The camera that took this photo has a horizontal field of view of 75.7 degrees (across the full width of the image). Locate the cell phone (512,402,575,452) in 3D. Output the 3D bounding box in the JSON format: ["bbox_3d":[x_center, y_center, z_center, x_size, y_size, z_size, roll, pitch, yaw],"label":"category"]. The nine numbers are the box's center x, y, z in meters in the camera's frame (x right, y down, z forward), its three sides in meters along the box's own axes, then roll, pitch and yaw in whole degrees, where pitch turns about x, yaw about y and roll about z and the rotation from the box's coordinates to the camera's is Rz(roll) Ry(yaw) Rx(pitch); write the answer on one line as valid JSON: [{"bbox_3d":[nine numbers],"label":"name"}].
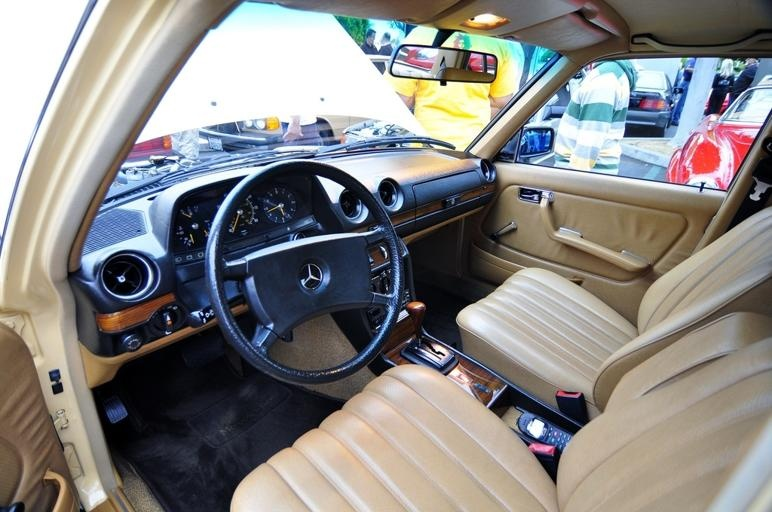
[{"bbox_3d":[0.599,0.660,1.914,0.214,0.045,0.091,23,63,41],"label":"cell phone"}]
